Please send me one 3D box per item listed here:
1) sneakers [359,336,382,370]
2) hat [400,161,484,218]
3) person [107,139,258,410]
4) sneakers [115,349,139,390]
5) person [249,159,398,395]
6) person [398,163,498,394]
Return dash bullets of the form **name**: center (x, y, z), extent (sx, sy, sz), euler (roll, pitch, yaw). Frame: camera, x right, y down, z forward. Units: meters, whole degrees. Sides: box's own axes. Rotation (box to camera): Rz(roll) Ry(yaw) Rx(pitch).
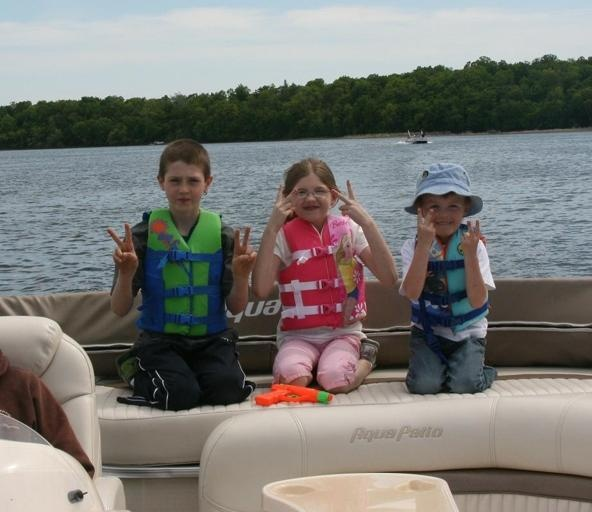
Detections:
- **sneakers**: center (0.519, 0.704, 6.880), extent (0.121, 0.260, 0.373), euler (-3, 10, 8)
- **hat**: center (0.982, -0.541, 6.795), extent (0.388, 0.228, 0.362), euler (-6, 5, -3)
- **person**: center (-0.804, 0.099, 6.522), extent (0.854, 1.699, 0.801), euler (-5, 10, -8)
- **sneakers**: center (-1.128, 0.767, 6.613), extent (0.090, 0.243, 0.175), euler (8, -12, -21)
- **person**: center (0.146, 0.113, 6.758), extent (0.769, 1.514, 0.856), euler (4, 12, 38)
- **person**: center (1.004, 0.128, 6.612), extent (0.628, 1.464, 0.786), euler (-2, 10, 10)
